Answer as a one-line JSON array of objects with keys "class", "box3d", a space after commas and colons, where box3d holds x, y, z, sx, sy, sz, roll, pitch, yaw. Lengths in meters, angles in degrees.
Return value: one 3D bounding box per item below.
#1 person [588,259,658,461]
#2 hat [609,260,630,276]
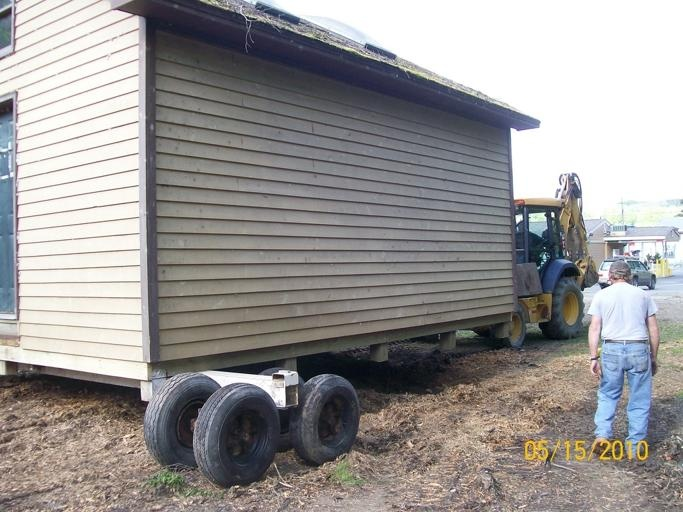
[{"class": "person", "box3d": [3.008, 1.051, 5.786, 0.676, 1.950, 0.764, 3, 6, 24]}, {"class": "hat", "box3d": [3.121, 0.106, 6.062, 0.177, 0.124, 0.244, 4, 13, 24]}]
